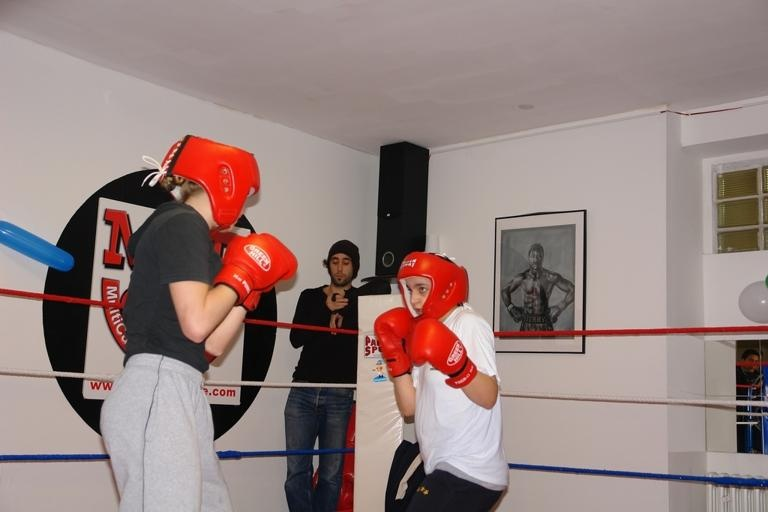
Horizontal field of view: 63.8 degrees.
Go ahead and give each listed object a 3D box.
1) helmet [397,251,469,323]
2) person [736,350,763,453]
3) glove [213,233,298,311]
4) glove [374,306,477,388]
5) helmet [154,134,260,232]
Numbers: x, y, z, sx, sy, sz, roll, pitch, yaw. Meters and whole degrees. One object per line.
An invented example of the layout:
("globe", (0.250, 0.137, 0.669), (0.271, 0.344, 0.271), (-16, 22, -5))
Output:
("helmet", (0.253, 0.163, 3.067), (0.360, 0.344, 0.302), (0, 4, -19))
("person", (2.576, 1.027, 4.352), (0.167, 0.740, 0.138), (1, -3, 26))
("glove", (-0.527, 0.060, 2.459), (0.245, 0.326, 0.140), (42, -37, -11))
("glove", (0.178, 0.439, 2.987), (0.267, 0.350, 0.764), (4, -4, -16))
("helmet", (-0.681, -0.330, 2.490), (0.395, 0.350, 0.376), (0, 25, -42))
